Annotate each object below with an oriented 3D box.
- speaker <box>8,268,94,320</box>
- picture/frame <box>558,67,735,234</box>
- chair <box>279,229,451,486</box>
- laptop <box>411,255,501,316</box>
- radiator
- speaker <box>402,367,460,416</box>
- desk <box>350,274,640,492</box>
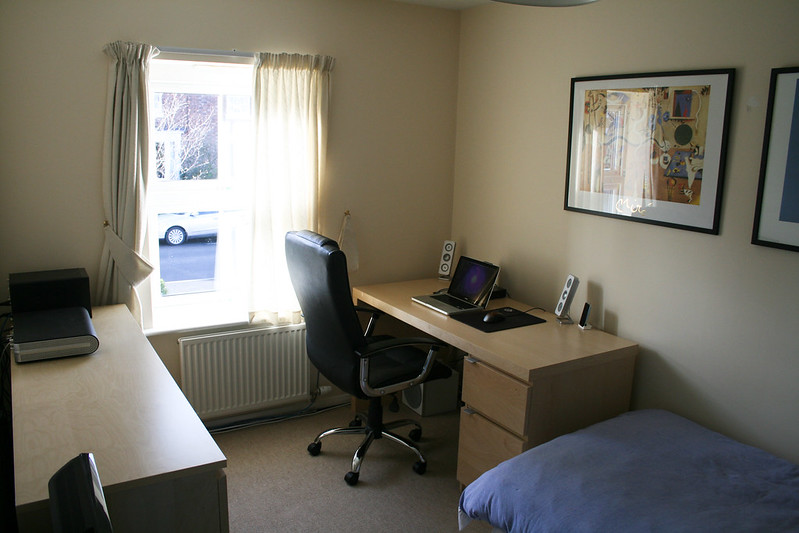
[{"bbox_3d":[-2.042,0.139,3.367,0.424,0.300,0.234,-2,-1,-27],"label":"speaker"},{"bbox_3d":[1.498,-0.694,3.388,0.952,0.939,0.067,11,14,42],"label":"picture/frame"},{"bbox_3d":[-0.271,0.683,3.922,0.982,1.803,1.048,-10,20,-27],"label":"chair"},{"bbox_3d":[0.392,0.121,4.009,0.496,0.312,0.496,-6,13,-37],"label":"laptop"},{"bbox_3d":[-1.122,0.727,4.044,0.702,0.523,0.072,-8,15,-21],"label":"radiator"},{"bbox_3d":[0.321,1.004,4.496,0.268,0.282,0.278,-2,-15,0],"label":"speaker"},{"bbox_3d":[0.561,0.826,4.140,0.933,1.036,1.827,-6,14,-33],"label":"desk"}]
